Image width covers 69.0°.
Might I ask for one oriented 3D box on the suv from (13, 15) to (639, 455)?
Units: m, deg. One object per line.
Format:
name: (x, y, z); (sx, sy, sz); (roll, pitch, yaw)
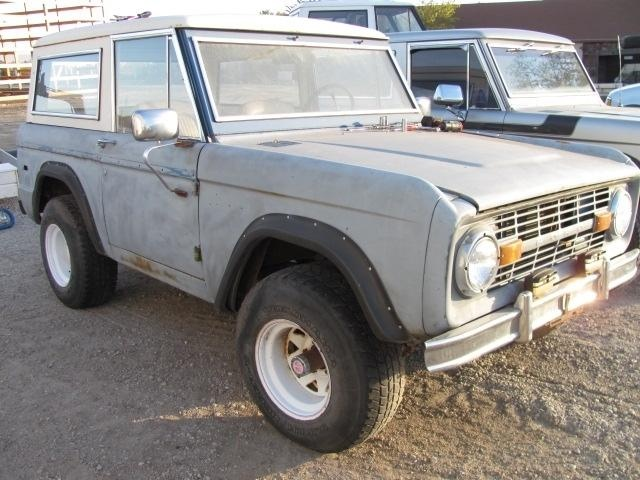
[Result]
suv: (-0.367, -0.229, 3.766); (4.447, 2.285, 2.721); (12, 19, 41)
